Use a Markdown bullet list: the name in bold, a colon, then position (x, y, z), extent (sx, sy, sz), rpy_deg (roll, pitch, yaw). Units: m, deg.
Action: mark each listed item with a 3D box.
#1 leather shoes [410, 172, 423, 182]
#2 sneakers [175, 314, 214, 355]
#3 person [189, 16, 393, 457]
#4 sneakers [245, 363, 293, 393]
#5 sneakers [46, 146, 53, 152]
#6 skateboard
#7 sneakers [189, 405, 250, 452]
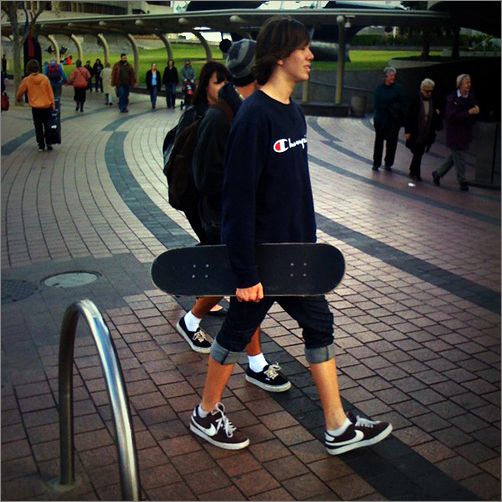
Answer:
- **leather shoes**: position (3.346, -1.528, 10.575), extent (0.355, 0.107, 0.241), rpy_deg (17, 9, 35)
- **sneakers**: position (-0.409, 0.620, 3.825), extent (0.152, 0.124, 0.363), rpy_deg (-2, 27, -41)
- **person**: position (0.108, 0.010, 2.427), extent (0.923, 2.080, 0.636), rpy_deg (-5, 21, -8)
- **sneakers**: position (0.116, 0.801, 3.293), extent (0.296, 0.118, 0.132), rpy_deg (6, 9, 27)
- **sneakers**: position (-4.901, -2.480, 12.525), extent (0.117, 0.054, 0.396), rpy_deg (6, -14, -16)
- **skateboard**: position (-0.027, 0.096, 2.338), extent (0.883, 0.307, 0.165), rpy_deg (2, 21, 7)
- **sneakers**: position (-0.168, 0.888, 2.667), extent (0.354, 0.182, 0.126), rpy_deg (11, 10, 29)
